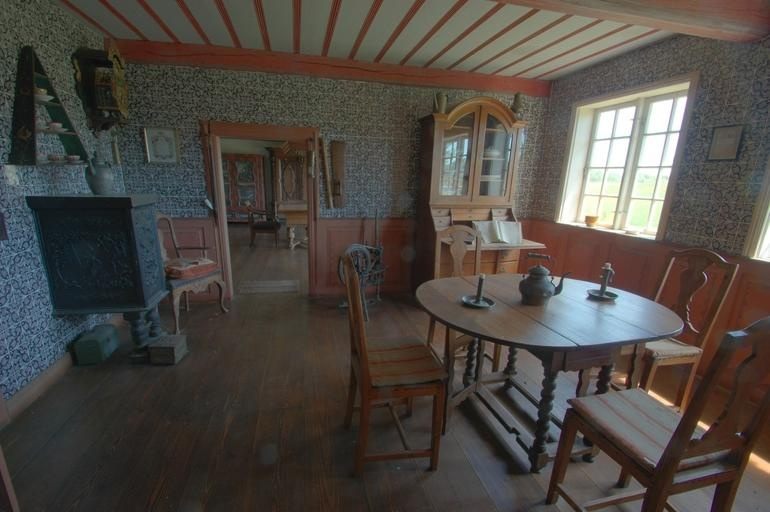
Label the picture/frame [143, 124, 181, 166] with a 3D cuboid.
[{"bbox_3d":[-2.534,-1.273,5.534,0.494,0.547,0.059,-1,16,-22],"label":"picture/frame"}]

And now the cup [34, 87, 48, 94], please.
[{"bbox_3d":[-3.029,-1.451,4.330,0.088,0.070,0.070,-1,14,-15],"label":"cup"}]

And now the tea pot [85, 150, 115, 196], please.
[{"bbox_3d":[-2.658,-0.768,4.544,0.215,0.385,0.192,-5,14,-27],"label":"tea pot"}]

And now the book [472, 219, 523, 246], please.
[{"bbox_3d":[1.376,-0.291,5.799,0.409,0.394,0.150,1,-28,1],"label":"book"}]

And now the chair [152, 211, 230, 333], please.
[{"bbox_3d":[-2.099,0.148,5.427,0.682,1.200,1.135,-5,13,-24],"label":"chair"}]

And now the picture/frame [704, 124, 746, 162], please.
[{"bbox_3d":[3.185,-1.053,4.564,0.040,0.463,0.355,0,7,-30],"label":"picture/frame"}]

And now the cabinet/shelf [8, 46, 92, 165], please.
[{"bbox_3d":[-3.002,-1.314,4.344,0.452,1.019,0.520,0,13,-4],"label":"cabinet/shelf"}]

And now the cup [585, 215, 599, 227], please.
[{"bbox_3d":[2.402,-0.405,5.702,0.133,0.105,0.123,2,10,0],"label":"cup"}]
